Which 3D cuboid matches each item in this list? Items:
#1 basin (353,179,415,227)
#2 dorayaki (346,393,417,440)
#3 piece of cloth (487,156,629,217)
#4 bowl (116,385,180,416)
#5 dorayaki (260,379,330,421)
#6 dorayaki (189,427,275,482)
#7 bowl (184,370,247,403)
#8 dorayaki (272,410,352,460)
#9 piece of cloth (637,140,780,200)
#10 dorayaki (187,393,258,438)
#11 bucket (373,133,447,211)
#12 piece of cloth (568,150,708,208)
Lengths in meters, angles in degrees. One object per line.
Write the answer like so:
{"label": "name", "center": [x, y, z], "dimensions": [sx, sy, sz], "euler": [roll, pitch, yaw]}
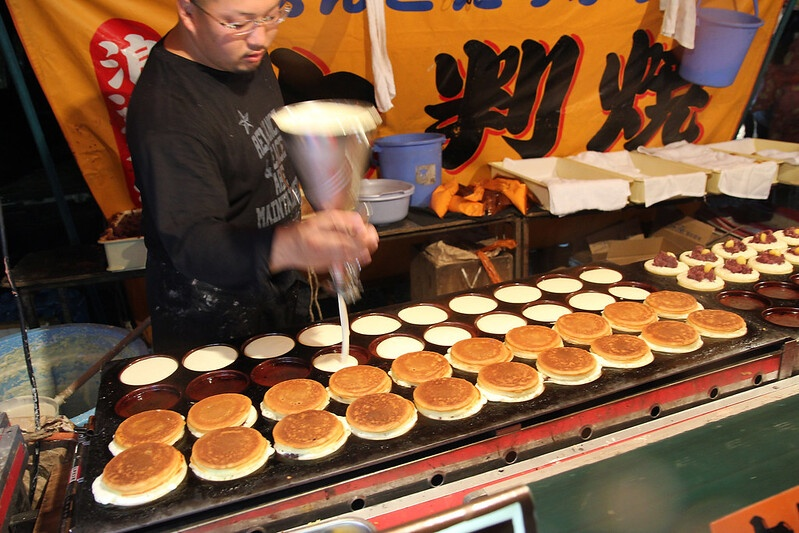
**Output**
{"label": "basin", "center": [-0.119, -0.498, 4.165], "dimensions": [0.573, 0.197, 0.442], "euler": [-8, 24, -15]}
{"label": "dorayaki", "center": [-0.068, 0.585, 2.215], "dimensions": [0.269, 0.075, 0.230], "euler": [-10, 23, -21]}
{"label": "piece of cloth", "center": [1.287, -0.663, 4.726], "dimensions": [0.931, 0.161, 0.791], "euler": [-11, 26, -24]}
{"label": "bowl", "center": [-1.068, 0.566, 2.395], "dimensions": [0.173, 0.025, 0.161], "euler": [0, 21, 0]}
{"label": "dorayaki", "center": [-0.428, 0.534, 2.302], "dimensions": [0.216, 0.036, 0.172], "euler": [-8, 25, -21]}
{"label": "dorayaki", "center": [-0.624, 0.681, 2.071], "dimensions": [0.231, 0.037, 0.199], "euler": [-15, 31, -30]}
{"label": "bowl", "center": [-0.812, 0.518, 2.469], "dimensions": [0.189, 0.026, 0.164], "euler": [-12, 22, -35]}
{"label": "dorayaki", "center": [-0.337, 0.637, 2.150], "dimensions": [0.268, 0.081, 0.223], "euler": [7, 23, 19]}
{"label": "piece of cloth", "center": [2.753, -0.887, 5.028], "dimensions": [0.845, 0.138, 0.848], "euler": [-18, 26, -40]}
{"label": "dorayaki", "center": [-0.711, 0.587, 2.258], "dimensions": [0.224, 0.034, 0.178], "euler": [-8, 21, -19]}
{"label": "bucket", "center": [0.065, -0.777, 4.533], "dimensions": [0.679, 0.379, 0.500], "euler": [-1, 18, -6]}
{"label": "piece of cloth", "center": [2.163, -0.785, 4.955], "dimensions": [0.771, 0.154, 0.863], "euler": [-12, 23, -24]}
